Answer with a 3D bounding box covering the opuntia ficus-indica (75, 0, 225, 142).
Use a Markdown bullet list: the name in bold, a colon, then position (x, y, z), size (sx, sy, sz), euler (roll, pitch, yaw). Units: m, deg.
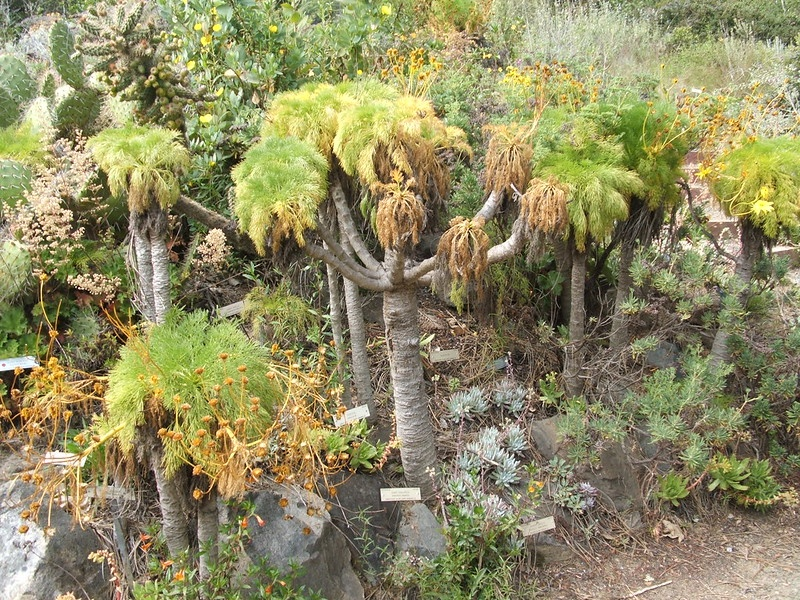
- **opuntia ficus-indica**: position (-1.647, -1.471, 4.528), size (0.739, 0.843, 0.403), euler (-8, 19, -15)
